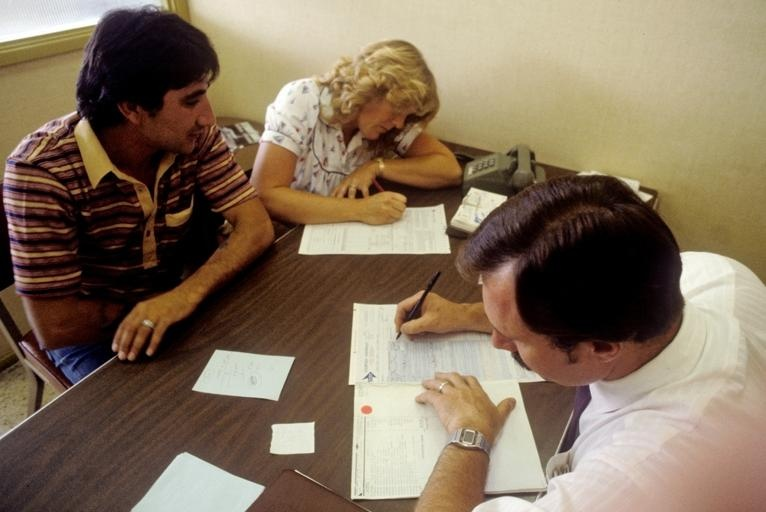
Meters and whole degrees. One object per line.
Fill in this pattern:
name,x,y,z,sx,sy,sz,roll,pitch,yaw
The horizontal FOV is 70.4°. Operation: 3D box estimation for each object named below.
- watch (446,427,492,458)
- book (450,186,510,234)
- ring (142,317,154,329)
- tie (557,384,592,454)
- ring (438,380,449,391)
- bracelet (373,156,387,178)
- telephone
watch,0.241,0.509,1.509,0.111,0.113,0.063,24,63,-9
book,0.399,-0.184,2.207,0.191,0.072,0.291,19,46,24
ring,-0.761,0.214,1.763,0.011,0.028,0.030,-44,77,-2
tie,0.549,0.461,1.553,0.041,0.101,0.181,27,88,6
ring,0.182,0.389,1.633,0.010,0.021,0.027,25,70,16
bracelet,-0.026,-0.406,2.490,0.049,0.074,0.078,-3,32,-10
telephone,0.548,-0.338,2.460,0.405,0.185,0.432,4,-4,20
